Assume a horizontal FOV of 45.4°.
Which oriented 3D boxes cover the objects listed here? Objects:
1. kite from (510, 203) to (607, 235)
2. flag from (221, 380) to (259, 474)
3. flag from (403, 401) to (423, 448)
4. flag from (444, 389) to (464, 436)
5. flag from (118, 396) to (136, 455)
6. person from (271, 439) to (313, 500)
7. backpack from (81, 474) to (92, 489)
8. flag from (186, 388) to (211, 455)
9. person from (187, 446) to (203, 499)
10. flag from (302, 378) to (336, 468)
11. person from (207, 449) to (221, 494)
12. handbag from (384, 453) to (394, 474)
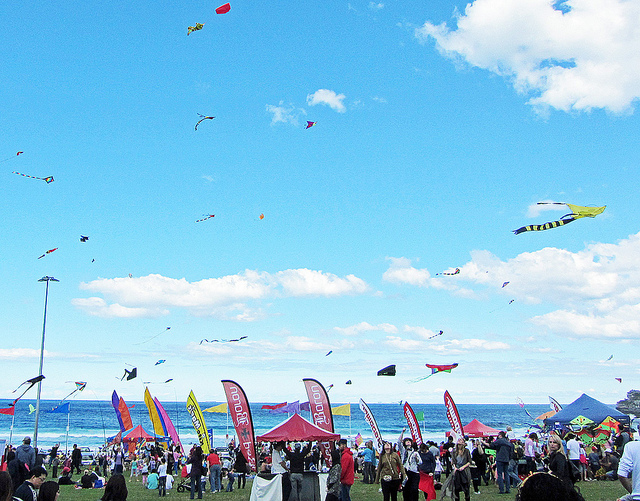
[{"bbox_3d":[7.875,-1.113,24.443,2.563,0.716,2.612,-7,4,29],"label":"kite"},{"bbox_3d":[-3.152,7.184,31.317,0.834,4.437,0.220,-3,18,18],"label":"flag"},{"bbox_3d":[4.244,7.929,34.864,0.598,1.906,1.579,-7,-20,5],"label":"flag"},{"bbox_3d":[6.213,7.599,35.439,0.646,2.053,3.717,-8,-21,9],"label":"flag"},{"bbox_3d":[-11.377,10.305,45.104,0.943,3.205,2.168,0,-21,-15],"label":"flag"},{"bbox_3d":[-0.936,7.434,25.509,1.374,2.254,0.756,1,-19,-6],"label":"person"},{"bbox_3d":[-9.797,9.791,32.206,0.532,0.564,0.336,1,-10,-10],"label":"backpack"},{"bbox_3d":[-5.630,8.090,35.638,0.962,2.943,3.633,-2,-21,-9],"label":"flag"},{"bbox_3d":[-4.519,8.180,27.980,0.484,1.797,1.016,-1,-20,-10],"label":"person"},{"bbox_3d":[0.068,7.201,31.799,1.041,3.768,2.393,-5,-20,-1],"label":"flag"},{"bbox_3d":[-4.081,8.621,29.820,0.465,1.649,1.072,-2,-20,-7],"label":"person"},{"bbox_3d":[2.137,6.597,23.616,0.099,0.817,0.042,-21,-12,14],"label":"handbag"}]
